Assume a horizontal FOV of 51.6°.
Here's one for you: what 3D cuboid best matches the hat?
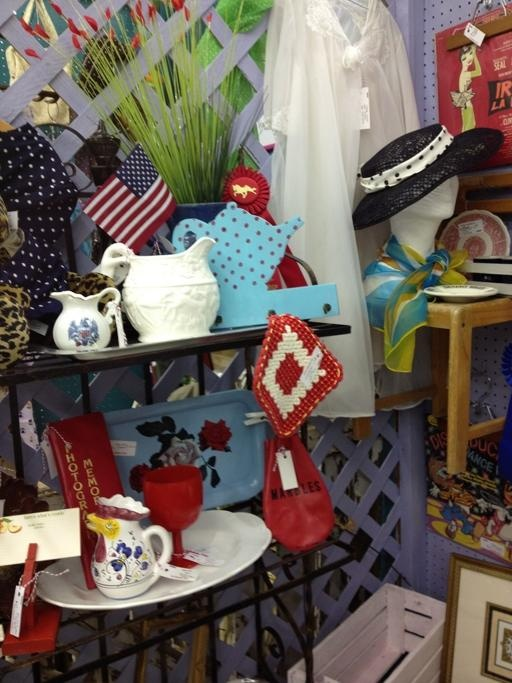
[{"bbox_3d":[0.374,-0.357,1.118,0.356,0.169,0.194,-17,28,-4],"label":"hat"}]

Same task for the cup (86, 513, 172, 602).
[{"bbox_3d":[-0.156,0.283,0.710,0.116,0.110,0.085,3,-12,-10],"label":"cup"}]

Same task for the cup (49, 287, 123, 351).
[{"bbox_3d":[-0.217,-0.023,0.664,0.098,0.092,0.065,-1,0,-37],"label":"cup"}]

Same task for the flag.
[{"bbox_3d":[-0.194,-0.213,0.820,0.140,0.147,0.034,-31,31,-27],"label":"flag"}]
